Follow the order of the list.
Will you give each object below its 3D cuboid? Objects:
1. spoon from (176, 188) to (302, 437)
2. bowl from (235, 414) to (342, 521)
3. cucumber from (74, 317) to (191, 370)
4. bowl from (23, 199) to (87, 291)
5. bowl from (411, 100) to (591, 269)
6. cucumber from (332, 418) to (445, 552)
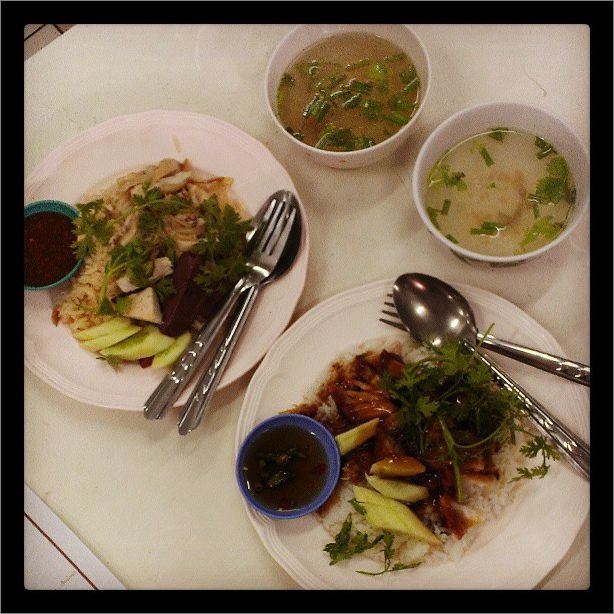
[{"bbox_3d":[-0.190,0.028,1.698,0.102,0.134,0.888,49,44,-23],"label":"spoon"},{"bbox_3d":[-0.067,0.373,1.475,0.254,0.281,0.059,17,109,7],"label":"bowl"},{"bbox_3d":[-0.475,0.097,1.553,0.239,0.091,0.156,13,62,9],"label":"cucumber"},{"bbox_3d":[-0.710,-0.163,1.629,0.182,0.044,0.242,2,91,-2],"label":"bowl"},{"bbox_3d":[0.465,-0.278,1.492,0.415,0.248,0.385,0,74,1],"label":"bowl"},{"bbox_3d":[0.196,0.491,1.537,0.339,0.061,0.213,44,81,11],"label":"cucumber"}]
